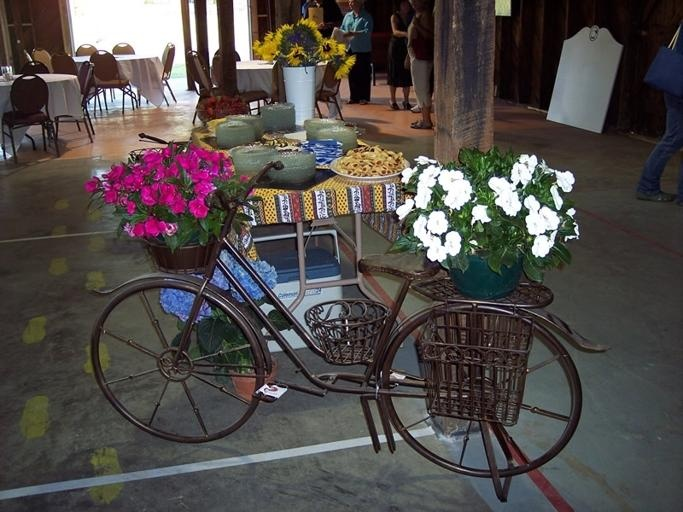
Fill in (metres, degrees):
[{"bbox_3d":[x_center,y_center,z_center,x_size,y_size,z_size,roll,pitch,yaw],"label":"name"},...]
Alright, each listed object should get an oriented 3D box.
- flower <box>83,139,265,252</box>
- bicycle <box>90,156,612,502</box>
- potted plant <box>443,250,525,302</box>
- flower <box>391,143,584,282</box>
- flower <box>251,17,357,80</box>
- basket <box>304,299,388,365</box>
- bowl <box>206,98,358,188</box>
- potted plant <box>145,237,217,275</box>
[{"bbox_3d":[-0.620,-0.248,1.921,0.534,0.348,0.567,20,19,18],"label":"flower"},{"bbox_3d":[0.000,0.345,1.976,1.866,1.000,0.551,6,24,18],"label":"bicycle"},{"bbox_3d":[0.458,0.046,1.556,0.186,0.096,0.183,5,17,41],"label":"potted plant"},{"bbox_3d":[0.454,-0.132,1.532,0.559,0.390,0.302,4,26,11],"label":"flower"},{"bbox_3d":[-0.371,-1.417,3.408,0.638,0.366,0.555,12,21,29],"label":"flower"},{"bbox_3d":[0.017,0.341,2.166,0.413,0.265,0.307,-5,20,-27],"label":"basket"},{"bbox_3d":[-0.290,-0.560,2.384,0.666,0.335,0.863,0,18,-10],"label":"bowl"},{"bbox_3d":[-0.580,0.009,1.793,0.238,0.131,0.202,1,16,-11],"label":"potted plant"}]
